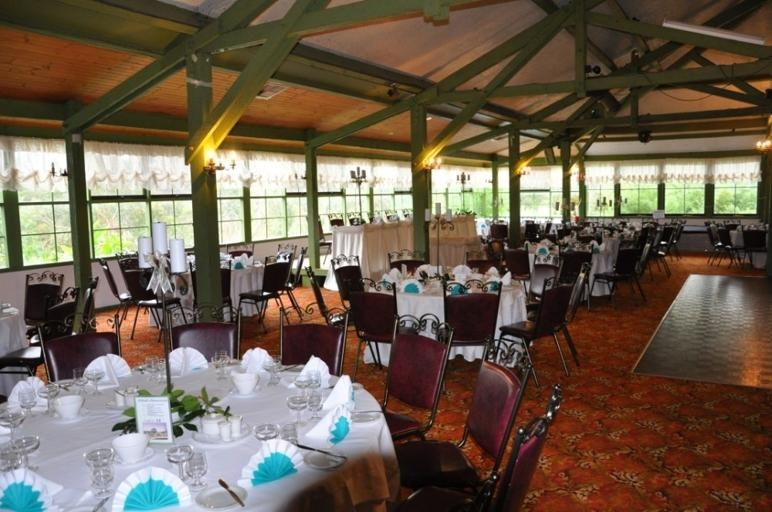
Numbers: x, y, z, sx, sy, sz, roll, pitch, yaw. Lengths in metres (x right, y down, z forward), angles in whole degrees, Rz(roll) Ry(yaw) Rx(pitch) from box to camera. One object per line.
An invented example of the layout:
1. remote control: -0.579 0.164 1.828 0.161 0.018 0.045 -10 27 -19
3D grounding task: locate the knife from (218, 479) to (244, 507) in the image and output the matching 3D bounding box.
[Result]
1. knife: -0.783 1.199 2.655 0.058 0.026 0.326 1 9 -32

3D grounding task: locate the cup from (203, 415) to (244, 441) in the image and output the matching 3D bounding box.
1. cup: -0.949 0.994 3.039 0.136 0.076 0.205 1 -6 -16

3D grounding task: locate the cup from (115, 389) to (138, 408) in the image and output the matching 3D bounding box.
1. cup: -1.641 0.911 3.326 0.159 0.099 0.153 0 -9 0
